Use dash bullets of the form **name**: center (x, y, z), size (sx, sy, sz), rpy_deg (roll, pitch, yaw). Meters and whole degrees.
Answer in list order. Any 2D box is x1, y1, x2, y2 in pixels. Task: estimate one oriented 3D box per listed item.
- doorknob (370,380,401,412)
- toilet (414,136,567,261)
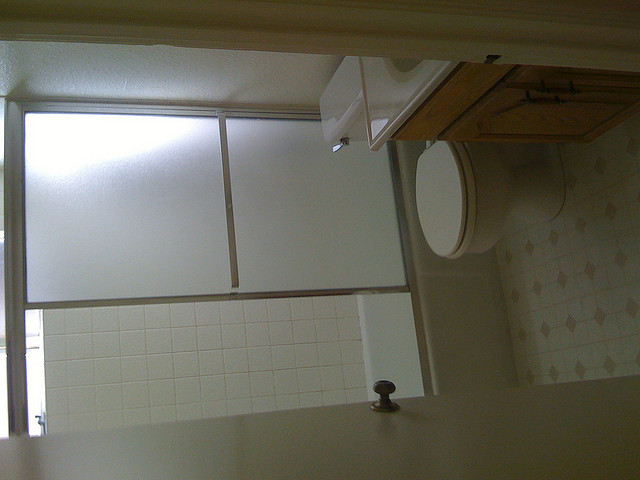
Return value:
- **doorknob**: center (0.110, 0.271, 0.861), size (0.049, 0.041, 0.048), rpy_deg (1, -5, -9)
- **toilet**: center (0.542, -0.173, 1.692), size (0.425, 0.362, 0.434), rpy_deg (-4, -49, -7)
